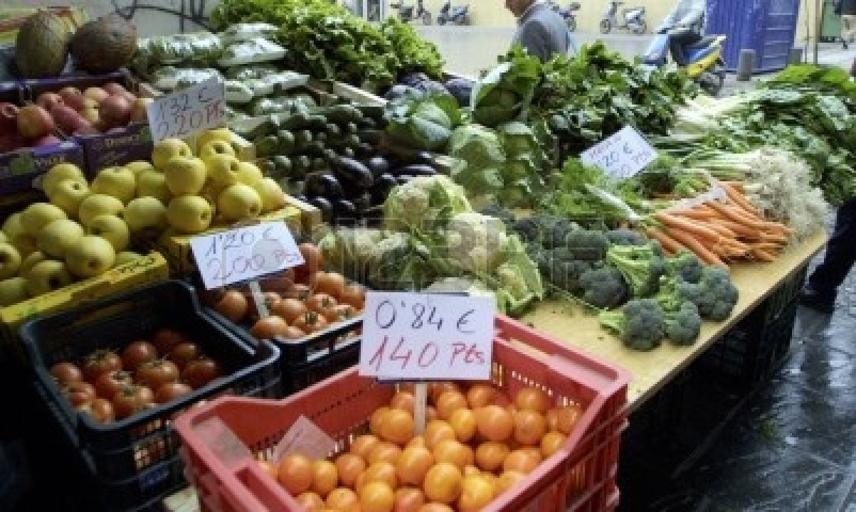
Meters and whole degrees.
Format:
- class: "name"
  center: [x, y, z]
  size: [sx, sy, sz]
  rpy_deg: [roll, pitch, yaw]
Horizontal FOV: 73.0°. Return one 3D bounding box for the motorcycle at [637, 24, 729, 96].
- class: "motorcycle"
  center: [4.572, -3.328, 10.249]
  size: [0.878, 1.089, 2.764]
  rpy_deg: [22, 33, 31]
